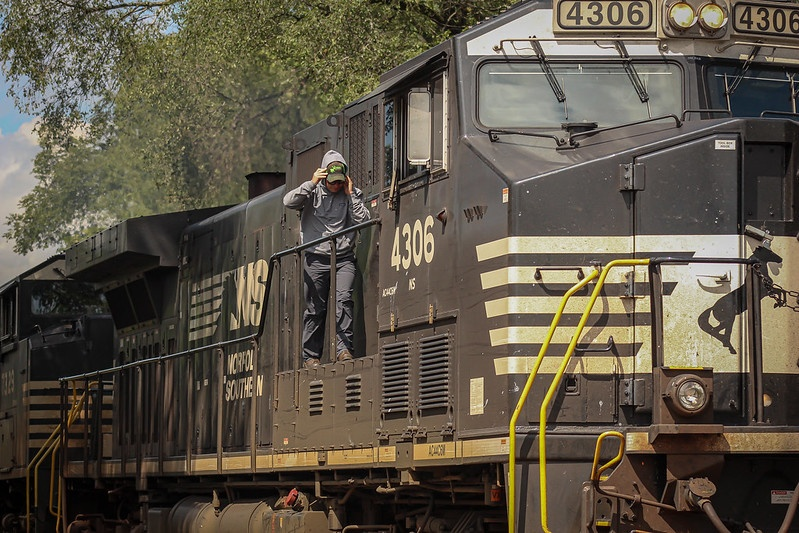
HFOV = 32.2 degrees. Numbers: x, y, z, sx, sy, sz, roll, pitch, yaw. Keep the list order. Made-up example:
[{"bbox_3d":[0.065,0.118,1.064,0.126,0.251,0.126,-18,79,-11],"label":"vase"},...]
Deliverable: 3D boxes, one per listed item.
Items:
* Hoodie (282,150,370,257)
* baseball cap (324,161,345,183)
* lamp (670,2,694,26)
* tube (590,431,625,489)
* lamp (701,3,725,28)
[{"bbox_3d":[-0.812,-0.740,16.166,1.033,1.526,0.793,0,-15,2],"label":"Hoodie"},{"bbox_3d":[-0.734,-1.079,15.799,0.164,0.253,0.238,2,-12,-5],"label":"baseball cap"},{"bbox_3d":[2.945,-2.610,14.431,0.313,0.291,0.078,-4,2,-13],"label":"lamp"},{"bbox_3d":[2.037,1.934,13.536,0.291,0.743,0.071,1,22,-6],"label":"tube"},{"bbox_3d":[3.269,-2.612,14.458,0.289,0.271,0.060,-5,2,-16],"label":"lamp"}]
